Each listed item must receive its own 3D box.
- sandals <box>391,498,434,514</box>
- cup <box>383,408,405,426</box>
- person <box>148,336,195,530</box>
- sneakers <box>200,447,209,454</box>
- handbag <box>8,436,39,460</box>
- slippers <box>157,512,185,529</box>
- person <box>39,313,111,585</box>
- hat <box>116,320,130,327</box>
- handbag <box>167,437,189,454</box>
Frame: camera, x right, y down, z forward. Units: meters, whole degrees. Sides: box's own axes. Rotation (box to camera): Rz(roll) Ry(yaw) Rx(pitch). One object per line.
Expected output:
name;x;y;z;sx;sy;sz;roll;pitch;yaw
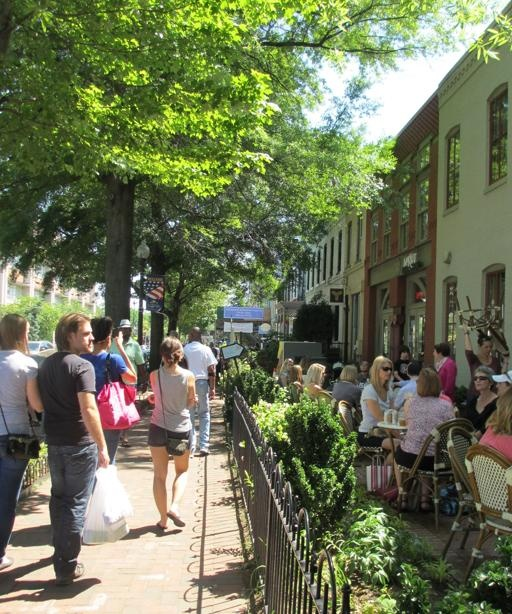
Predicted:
sandals;1.499;1.929;5.941;0.286;0.069;0.269;1;-1;-13
cup;1.470;1.181;6.543;0.216;0.209;0.135;-1;1;6
person;-0.738;1.086;5.446;0.438;1.632;0.456;0;-4;-24
sneakers;-0.750;2.086;8.865;0.114;0.098;0.195;-1;-5;0
handbag;-1.568;0.939;4.096;0.154;0.131;0.064;5;-2;-19
slippers;-0.732;1.819;5.256;0.235;0.144;0.188;-1;-5;-8
person;-1.217;1.032;4.040;0.458;1.479;0.310;0;-4;-15
hat;-2.038;0.239;9.536;0.214;0.107;0.290;1;-12;-7
handbag;-0.692;1.232;5.415;0.167;0.169;0.202;-2;-5;5
